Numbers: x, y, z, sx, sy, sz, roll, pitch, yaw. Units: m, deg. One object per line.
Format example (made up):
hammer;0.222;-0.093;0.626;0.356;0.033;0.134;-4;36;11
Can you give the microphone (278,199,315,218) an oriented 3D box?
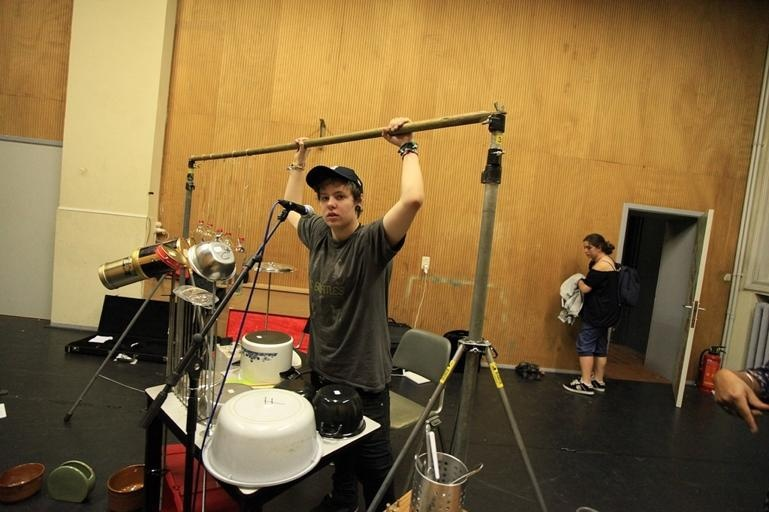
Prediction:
microphone;-0.753;-0.396;4.859;0.108;0.120;0.371;7;-5;40

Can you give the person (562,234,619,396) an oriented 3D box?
person;2.643;0.751;7.182;0.558;1.502;0.353;6;4;17

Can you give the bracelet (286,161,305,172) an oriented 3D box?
bracelet;-0.815;-0.813;5.254;0.100;0.056;0.082;8;7;12

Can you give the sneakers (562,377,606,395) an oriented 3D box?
sneakers;2.496;1.655;7.230;0.530;0.260;0.212;0;-5;15

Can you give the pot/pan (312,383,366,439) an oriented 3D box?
pot/pan;-0.392;1.284;4.804;0.466;0.299;0.489;8;11;21

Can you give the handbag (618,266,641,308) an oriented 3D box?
handbag;3.090;0.386;7.229;0.267;0.508;0.300;7;10;34

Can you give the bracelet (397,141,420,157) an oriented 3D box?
bracelet;0.192;-0.875;4.704;0.110;0.092;0.146;-2;8;28

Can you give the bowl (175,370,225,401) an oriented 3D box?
bowl;-1.514;1.089;4.680;0.325;0.147;0.346;4;-1;0

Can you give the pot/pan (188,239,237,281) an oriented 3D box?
pot/pan;-1.408;0.055;4.671;0.361;0.333;0.199;4;4;-19

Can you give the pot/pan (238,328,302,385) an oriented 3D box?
pot/pan;-1.059;0.895;5.094;0.434;0.366;0.470;4;13;-4
